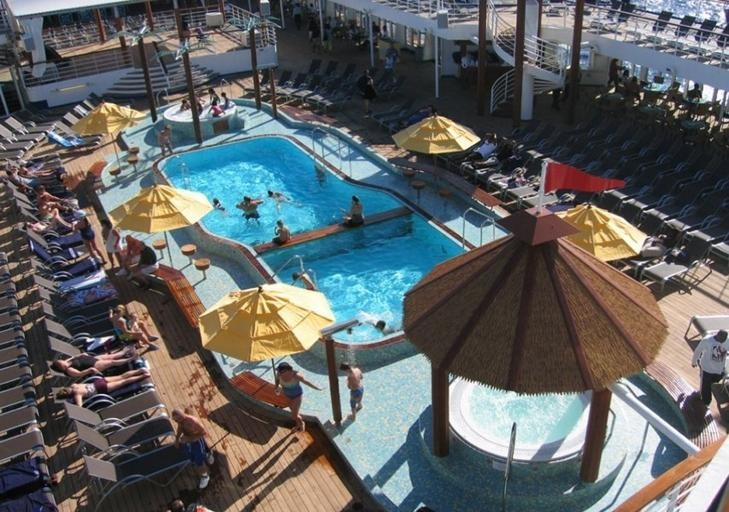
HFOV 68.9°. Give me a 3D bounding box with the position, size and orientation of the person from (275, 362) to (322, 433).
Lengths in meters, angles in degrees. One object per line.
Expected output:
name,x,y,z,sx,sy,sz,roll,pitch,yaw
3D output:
person,-1.225,2.685,10.159,1.009,1.490,0.510,-4,11,12

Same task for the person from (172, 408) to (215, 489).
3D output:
person,-3.006,3.276,9.301,0.531,1.467,0.865,-17,37,-22

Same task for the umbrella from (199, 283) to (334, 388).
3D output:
umbrella,-1.890,1.179,10.018,2.423,0.685,1.667,-6,33,-9

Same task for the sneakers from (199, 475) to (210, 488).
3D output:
sneakers,-2.843,3.986,9.383,0.104,0.106,0.264,3,52,-2

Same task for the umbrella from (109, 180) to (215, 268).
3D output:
umbrella,-5.212,-1.226,13.759,1.766,1.299,1.749,-20,49,-25

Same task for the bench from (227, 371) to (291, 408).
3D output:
bench,-2.196,2.717,10.839,1.446,0.209,0.530,29,43,35

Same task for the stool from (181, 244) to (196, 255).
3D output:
stool,-4.890,-0.177,14.741,0.374,0.123,0.356,-10,37,-24

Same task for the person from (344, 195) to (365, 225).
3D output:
person,-0.299,-1.420,16.402,0.694,0.962,0.630,-18,46,-18
